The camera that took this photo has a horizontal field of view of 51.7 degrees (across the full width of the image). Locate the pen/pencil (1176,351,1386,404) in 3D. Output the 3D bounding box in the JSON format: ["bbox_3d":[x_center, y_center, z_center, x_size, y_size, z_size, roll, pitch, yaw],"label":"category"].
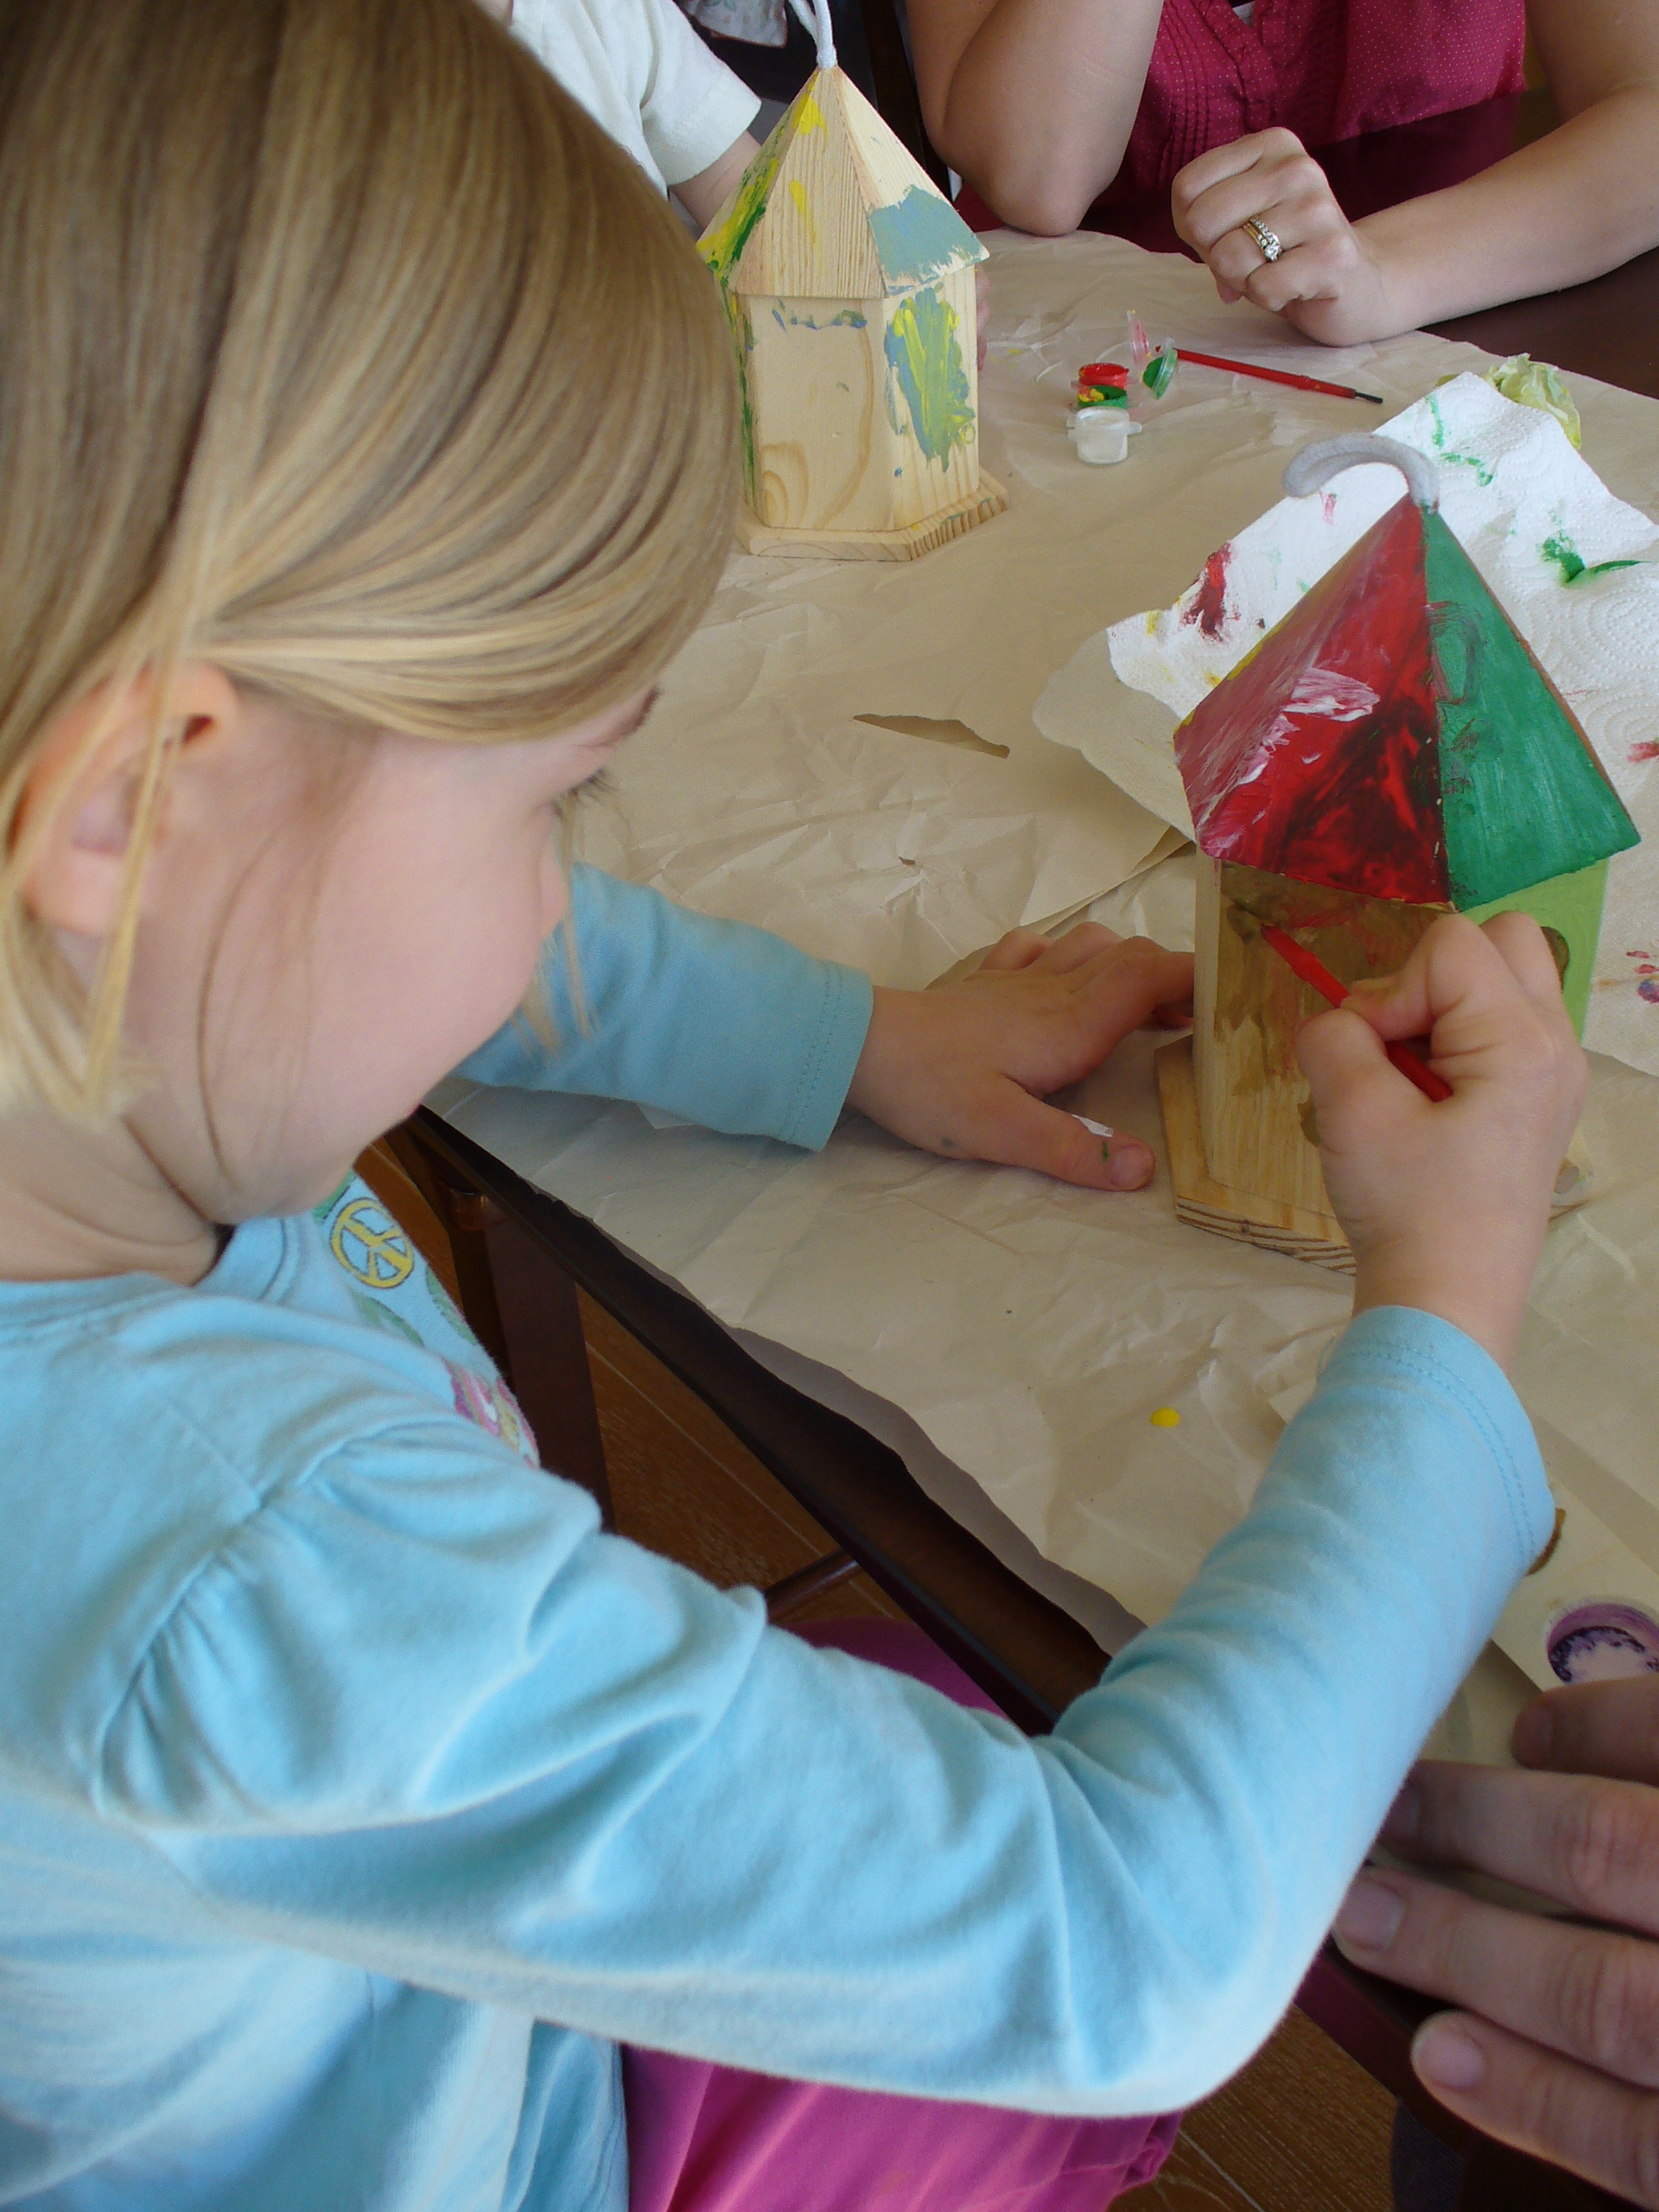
[{"bbox_3d":[0.309,-0.493,1.162,0.172,0.013,0.014,21,25,17],"label":"pen/pencil"}]

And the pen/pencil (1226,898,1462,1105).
[{"bbox_3d":[0.152,-0.043,0.558,0.016,0.019,0.145,-7,43,-20],"label":"pen/pencil"}]

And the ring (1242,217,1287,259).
[{"bbox_3d":[0.297,-0.593,1.174,0.015,0.027,0.024,-33,-2,30],"label":"ring"}]
